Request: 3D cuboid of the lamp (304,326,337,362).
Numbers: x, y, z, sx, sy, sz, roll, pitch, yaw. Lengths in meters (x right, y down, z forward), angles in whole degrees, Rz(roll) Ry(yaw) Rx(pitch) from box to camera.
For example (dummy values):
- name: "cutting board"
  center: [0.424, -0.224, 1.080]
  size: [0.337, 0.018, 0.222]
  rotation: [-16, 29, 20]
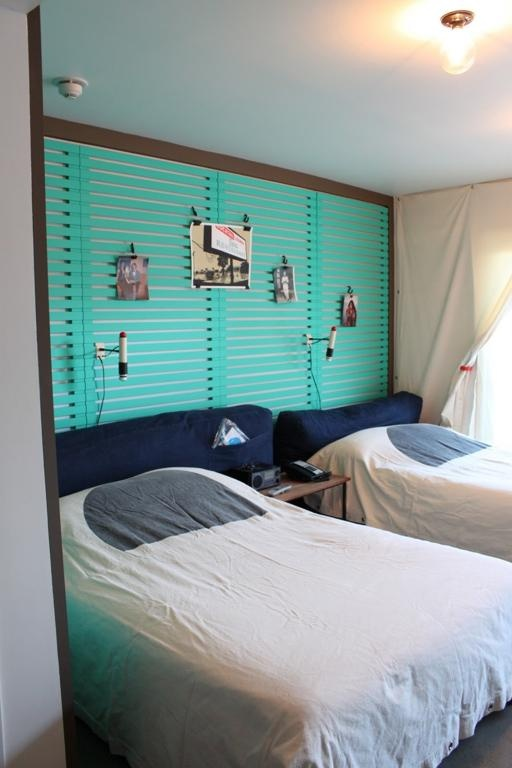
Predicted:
- name: "lamp"
  center: [0.503, -0.272, 3.861]
  size: [0.184, 0.234, 0.401]
  rotation: [4, 7, 30]

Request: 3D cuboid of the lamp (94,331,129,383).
- name: "lamp"
  center: [-0.682, -0.133, 2.648]
  size: [0.151, 0.227, 0.217]
  rotation: [-1, 7, -14]

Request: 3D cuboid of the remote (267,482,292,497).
- name: "remote"
  center: [0.127, 0.547, 2.916]
  size: [0.057, 0.025, 0.107]
  rotation: [8, 13, 33]

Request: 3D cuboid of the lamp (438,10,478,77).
- name: "lamp"
  center: [0.635, -1.072, 1.755]
  size: [0.090, 0.151, 0.093]
  rotation: [0, 4, 13]

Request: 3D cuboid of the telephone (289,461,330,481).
- name: "telephone"
  center: [0.284, 0.490, 3.146]
  size: [0.114, 0.048, 0.155]
  rotation: [-4, 11, -45]
